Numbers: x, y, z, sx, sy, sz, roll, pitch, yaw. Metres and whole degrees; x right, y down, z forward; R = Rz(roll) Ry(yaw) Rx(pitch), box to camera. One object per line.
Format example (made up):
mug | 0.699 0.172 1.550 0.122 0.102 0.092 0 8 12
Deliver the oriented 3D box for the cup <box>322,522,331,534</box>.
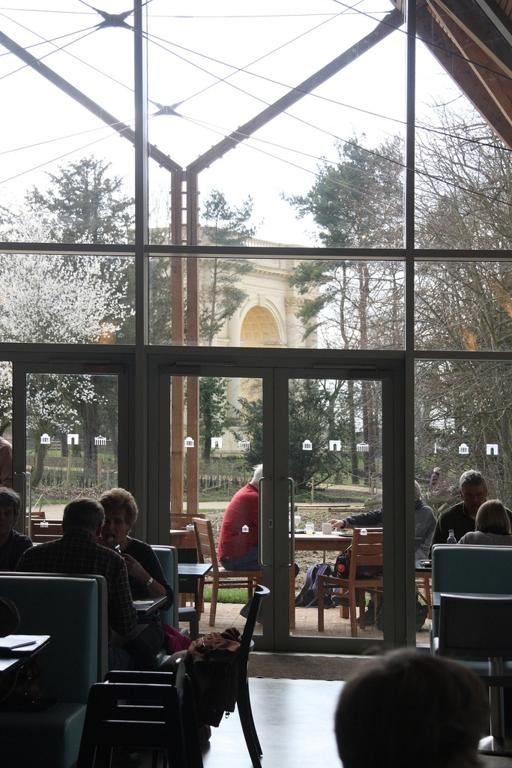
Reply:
cup | 0.469 0.960 5.818 0.066 0.069 0.069 1 -6 0

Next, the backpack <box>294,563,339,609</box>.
backpack | 0.397 1.354 5.786 0.279 0.302 0.264 2 2 1

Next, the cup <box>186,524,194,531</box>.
cup | -0.443 0.963 5.859 0.035 0.045 0.049 2 -6 -20

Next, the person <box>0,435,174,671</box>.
person | -0.688 0.840 3.663 0.494 0.736 0.495 -2 -4 30
